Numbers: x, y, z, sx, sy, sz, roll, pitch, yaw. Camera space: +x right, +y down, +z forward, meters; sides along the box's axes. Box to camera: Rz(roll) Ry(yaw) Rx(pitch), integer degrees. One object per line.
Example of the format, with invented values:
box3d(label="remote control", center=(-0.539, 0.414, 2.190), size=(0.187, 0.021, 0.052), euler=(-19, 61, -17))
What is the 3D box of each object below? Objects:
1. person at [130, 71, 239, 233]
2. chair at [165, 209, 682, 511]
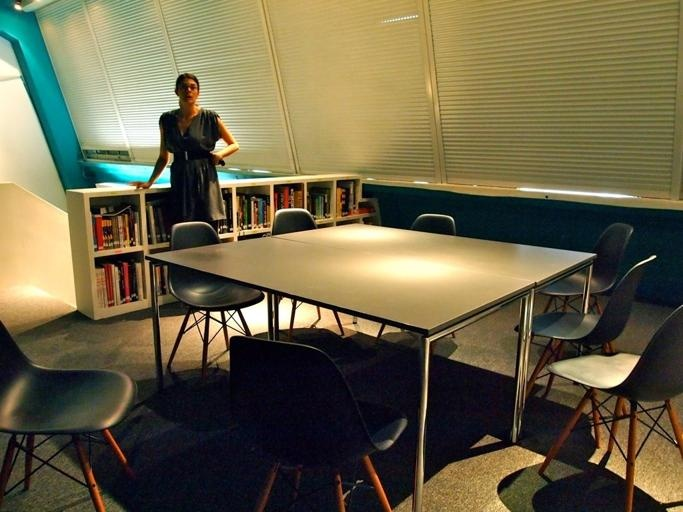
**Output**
box3d(label="person", center=(-1.415, -0.964, 4.703), size=(0.800, 1.474, 0.352), euler=(-7, 19, -11))
box3d(label="chair", center=(0.308, 0.434, 3.337), size=(1.975, 1.057, 1.998), euler=(13, 23, 41))
